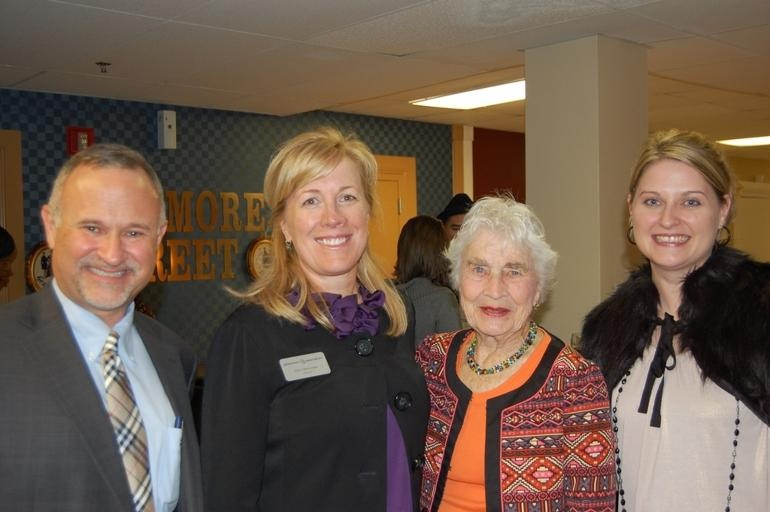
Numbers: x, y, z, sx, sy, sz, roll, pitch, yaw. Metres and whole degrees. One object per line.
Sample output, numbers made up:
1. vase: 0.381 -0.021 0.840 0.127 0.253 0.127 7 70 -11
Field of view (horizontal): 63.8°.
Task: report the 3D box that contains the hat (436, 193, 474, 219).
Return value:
1. hat: 0.602 -0.413 5.307 0.322 0.125 0.356 -1 2 8
